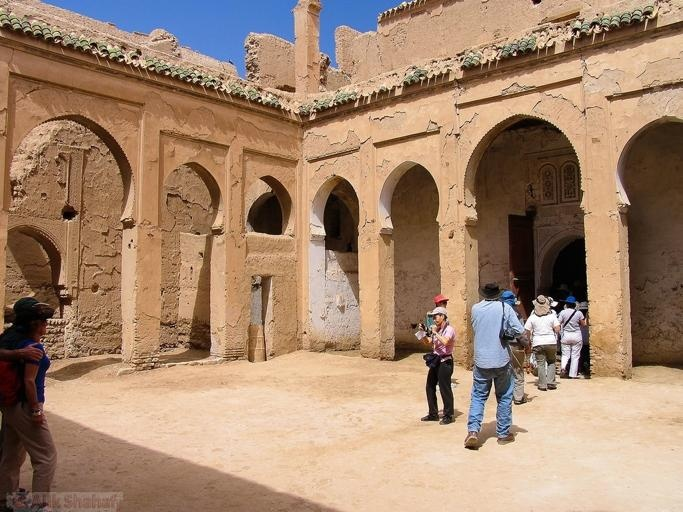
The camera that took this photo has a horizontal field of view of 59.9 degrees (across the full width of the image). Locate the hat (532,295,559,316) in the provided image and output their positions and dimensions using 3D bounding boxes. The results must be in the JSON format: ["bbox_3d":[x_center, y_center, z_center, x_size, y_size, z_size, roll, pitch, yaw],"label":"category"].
[{"bbox_3d":[3.607,0.856,10.610,0.364,0.524,0.184,-9,-25,23],"label":"hat"}]

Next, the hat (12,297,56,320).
[{"bbox_3d":[-3.002,0.510,5.810,0.383,0.196,0.245,-9,7,-29],"label":"hat"}]

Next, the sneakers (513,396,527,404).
[{"bbox_3d":[2.965,2.343,9.816,0.296,0.123,0.107,-2,5,-38],"label":"sneakers"}]

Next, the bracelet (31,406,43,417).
[{"bbox_3d":[-2.884,1.455,5.593,0.076,0.045,0.086,-3,-1,-20],"label":"bracelet"}]

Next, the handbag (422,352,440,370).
[{"bbox_3d":[1.327,1.542,8.816,0.235,0.232,0.106,-6,22,42],"label":"handbag"}]

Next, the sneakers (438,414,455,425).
[{"bbox_3d":[1.570,2.419,8.873,0.104,0.129,0.307,-9,-14,31],"label":"sneakers"}]

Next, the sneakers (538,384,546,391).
[{"bbox_3d":[3.571,2.330,10.623,0.053,0.091,0.135,-4,8,-16],"label":"sneakers"}]

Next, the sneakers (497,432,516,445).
[{"bbox_3d":[2.202,2.389,7.905,0.105,0.134,0.291,2,10,41],"label":"sneakers"}]
